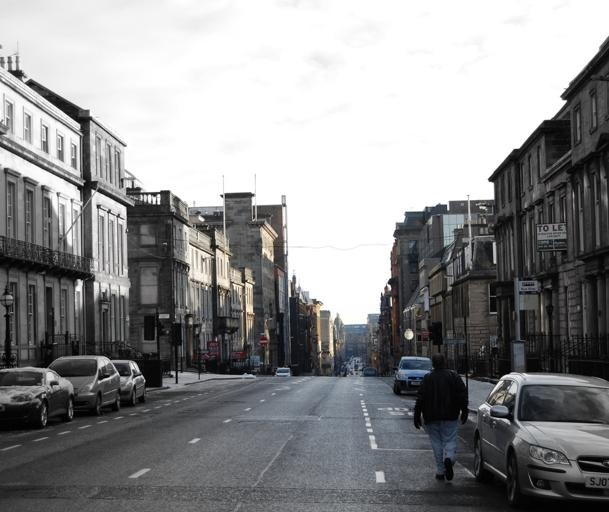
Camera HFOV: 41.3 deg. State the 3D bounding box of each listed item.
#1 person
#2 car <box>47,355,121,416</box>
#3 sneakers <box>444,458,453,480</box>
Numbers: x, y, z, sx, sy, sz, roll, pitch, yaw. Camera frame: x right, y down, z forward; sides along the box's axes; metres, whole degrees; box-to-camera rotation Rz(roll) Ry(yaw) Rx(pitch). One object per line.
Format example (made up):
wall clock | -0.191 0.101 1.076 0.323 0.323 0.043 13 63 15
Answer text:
person | 2.178 2.554 12.909 0.831 1.985 0.629 -2 -10 6
car | -7.317 4.340 27.489 1.332 1.295 2.676 -1 -12 5
sneakers | 2.265 3.329 12.645 0.102 0.401 0.150 -1 -8 0
